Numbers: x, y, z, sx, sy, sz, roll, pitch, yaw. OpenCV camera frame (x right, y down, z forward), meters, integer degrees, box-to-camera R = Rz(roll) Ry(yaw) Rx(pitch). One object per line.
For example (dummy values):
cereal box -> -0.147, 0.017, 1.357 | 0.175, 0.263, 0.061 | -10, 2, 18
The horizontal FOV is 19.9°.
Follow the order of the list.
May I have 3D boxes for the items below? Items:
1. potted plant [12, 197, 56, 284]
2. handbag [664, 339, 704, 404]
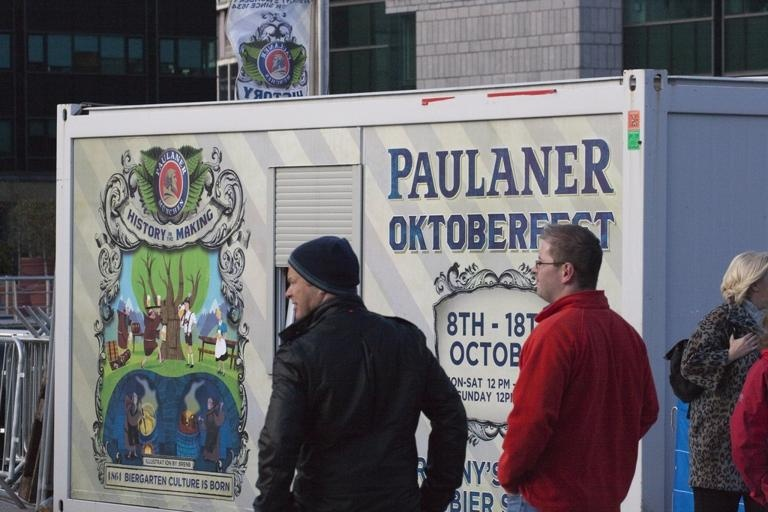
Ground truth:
potted plant -> -9.574, -0.447, 59.778 | 1.174, 2.013, 3.233 | -1, 2, -10
handbag -> 3.834, 1.430, 28.001 | 0.331, 0.714, 0.564 | 7, -38, 10
